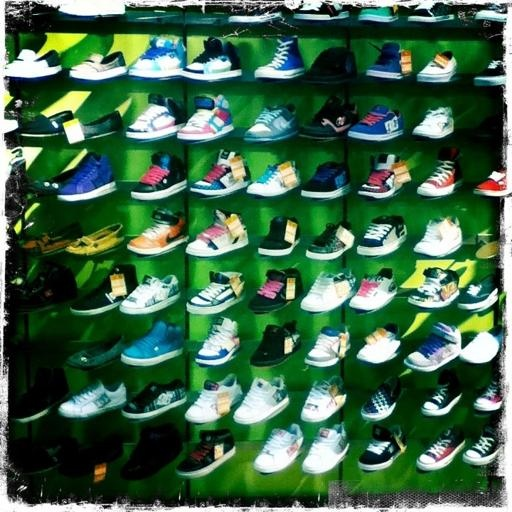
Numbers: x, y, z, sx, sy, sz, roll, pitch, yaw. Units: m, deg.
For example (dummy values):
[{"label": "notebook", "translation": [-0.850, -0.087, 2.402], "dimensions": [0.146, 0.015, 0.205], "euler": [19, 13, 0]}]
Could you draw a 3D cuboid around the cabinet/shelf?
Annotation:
[{"label": "cabinet/shelf", "translation": [-0.080, -0.018, 2.782], "dimensions": [2.944, 2.271, 0.874], "euler": [0, 2, -2]}]
